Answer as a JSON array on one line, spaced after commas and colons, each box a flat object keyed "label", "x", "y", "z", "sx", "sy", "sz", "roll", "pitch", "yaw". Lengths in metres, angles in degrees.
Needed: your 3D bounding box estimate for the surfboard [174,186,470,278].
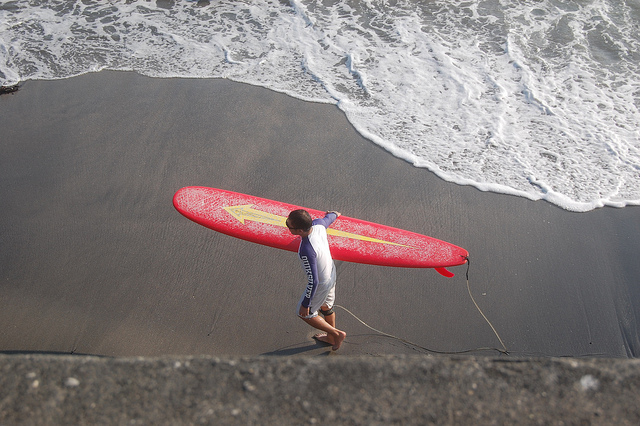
[{"label": "surfboard", "x": -0.037, "y": 0.354, "z": 11.464, "sx": 4.478, "sy": 0.522, "sz": 0.737, "roll": 10, "pitch": 68, "yaw": 5}]
